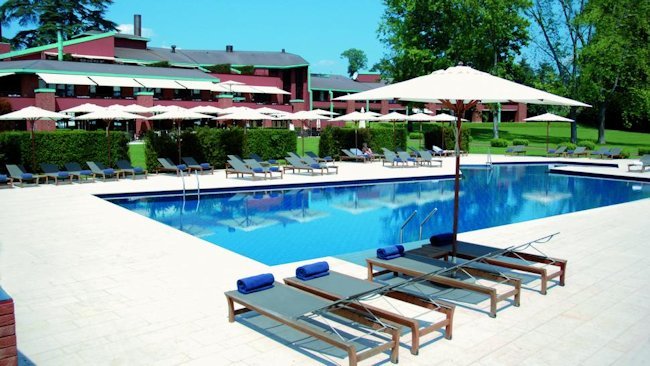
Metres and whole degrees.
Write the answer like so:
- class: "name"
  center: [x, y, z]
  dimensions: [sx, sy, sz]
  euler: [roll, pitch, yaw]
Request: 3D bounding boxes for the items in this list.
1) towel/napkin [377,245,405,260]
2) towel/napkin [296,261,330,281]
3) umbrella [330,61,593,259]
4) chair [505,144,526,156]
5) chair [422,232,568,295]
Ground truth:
- class: "towel/napkin"
  center: [1.900, 2.004, 14.647]
  dimensions: [0.631, 0.196, 0.425]
  euler: [-4, 6, -34]
- class: "towel/napkin"
  center: [-0.323, 2.341, 13.587]
  dimensions: [0.695, 0.228, 0.496]
  euler: [-4, 6, -34]
- class: "umbrella"
  center: [4.031, -0.701, 14.722]
  dimensions: [5.505, 5.520, 1.917]
  euler: [-5, 9, -8]
- class: "chair"
  center: [16.458, -2.829, 43.614]
  dimensions: [1.415, 1.019, 2.171]
  euler: [-1, 15, -2]
- class: "chair"
  center: [5.334, 2.216, 14.722]
  dimensions: [1.802, 0.728, 3.912]
  euler: [-10, 13, -43]
